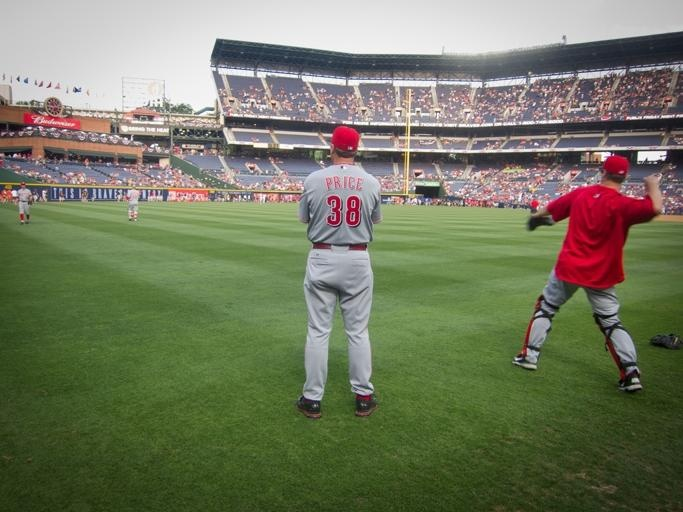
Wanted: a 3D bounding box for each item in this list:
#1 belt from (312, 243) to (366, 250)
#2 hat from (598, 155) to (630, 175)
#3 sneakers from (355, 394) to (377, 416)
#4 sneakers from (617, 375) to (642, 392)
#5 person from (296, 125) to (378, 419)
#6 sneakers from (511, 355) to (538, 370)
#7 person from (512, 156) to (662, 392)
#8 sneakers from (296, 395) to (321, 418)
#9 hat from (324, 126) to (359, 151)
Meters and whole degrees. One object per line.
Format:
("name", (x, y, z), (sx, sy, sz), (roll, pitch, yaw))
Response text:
("belt", (-0.019, -0.071, 5.042), (0.517, 0.069, 0.163), (1, 9, 0))
("hat", (2.971, -0.894, 5.658), (0.241, 0.292, 0.183), (14, 0, 8))
("sneakers", (0.236, 1.440, 5.014), (0.120, 0.123, 0.281), (-1, -1, 14))
("sneakers", (3.056, 1.360, 5.522), (0.121, 0.207, 0.311), (10, -15, -6))
("person", (-0.001, 0.151, 5.039), (0.814, 2.699, 0.666), (1, 10, -5))
("sneakers", (2.139, 1.242, 6.096), (0.131, 0.131, 0.312), (2, 3, -19))
("person", (2.767, 0.157, 5.818), (1.316, 2.449, 0.661), (7, 11, 27))
("sneakers", (-0.301, 1.434, 4.998), (0.234, 0.163, 0.185), (1, 9, -3))
("hat", (0.055, -1.149, 5.082), (0.229, 0.153, 0.291), (9, 36, -8))
